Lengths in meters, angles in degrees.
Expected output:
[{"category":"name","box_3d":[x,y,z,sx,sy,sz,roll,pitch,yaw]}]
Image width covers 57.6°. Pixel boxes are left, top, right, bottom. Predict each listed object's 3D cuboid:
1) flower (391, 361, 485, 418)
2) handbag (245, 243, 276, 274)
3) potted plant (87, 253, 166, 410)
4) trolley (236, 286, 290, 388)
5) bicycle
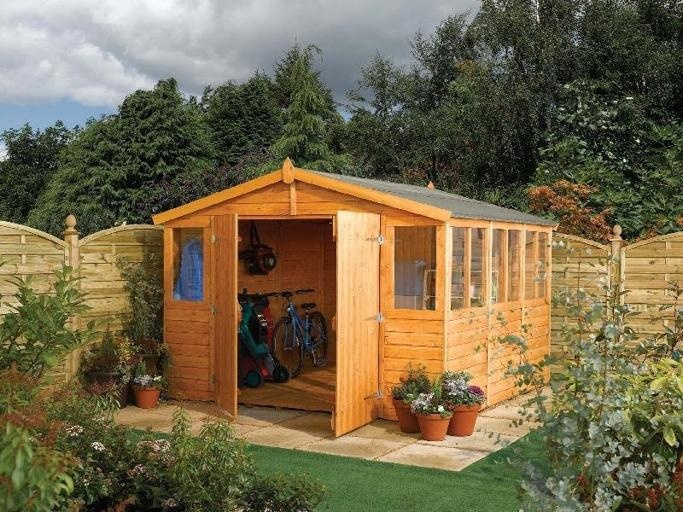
[{"category":"flower","box_3d":[1.246,1.793,8.129,0.670,0.409,0.702,1,3,20]},{"category":"handbag","box_3d":[-1.499,0.050,11.598,0.444,0.552,0.583,-4,4,-39]},{"category":"potted plant","box_3d":[-3.223,1.133,9.748,0.743,2.343,1.508,1,1,26]},{"category":"trolley","box_3d":[-1.585,1.441,11.227,0.929,1.560,0.994,2,-1,17]},{"category":"bicycle","box_3d":[-0.783,1.456,12.305,1.091,1.601,2.418,-6,-3,23]}]
